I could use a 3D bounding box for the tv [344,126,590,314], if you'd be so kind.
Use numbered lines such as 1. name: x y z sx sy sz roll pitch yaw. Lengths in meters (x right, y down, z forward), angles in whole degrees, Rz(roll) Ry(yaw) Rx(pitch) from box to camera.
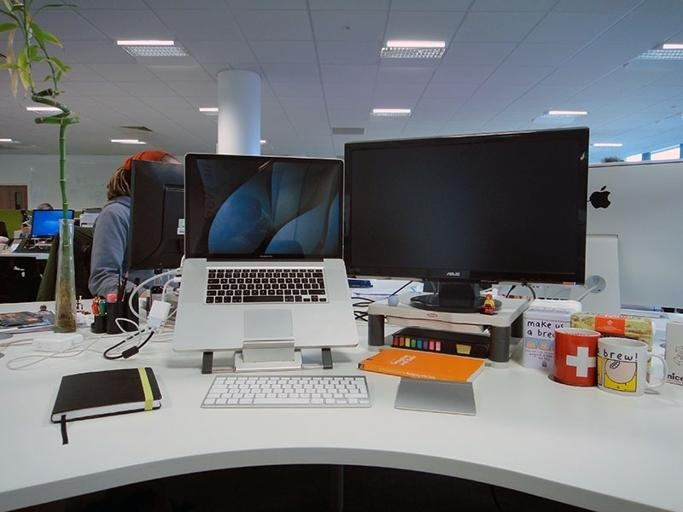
1. tv: 0.358 -0.107 1.525 0.721 0.519 0.221 1 3 22

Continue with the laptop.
1. laptop: -0.200 -0.009 1.354 0.454 0.441 0.361 -2 46 -12

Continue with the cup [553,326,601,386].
1. cup: 0.641 0.274 1.339 0.125 0.135 0.113 4 0 -9

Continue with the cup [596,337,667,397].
1. cup: 0.759 0.294 1.269 0.161 0.116 0.103 1 -5 35
